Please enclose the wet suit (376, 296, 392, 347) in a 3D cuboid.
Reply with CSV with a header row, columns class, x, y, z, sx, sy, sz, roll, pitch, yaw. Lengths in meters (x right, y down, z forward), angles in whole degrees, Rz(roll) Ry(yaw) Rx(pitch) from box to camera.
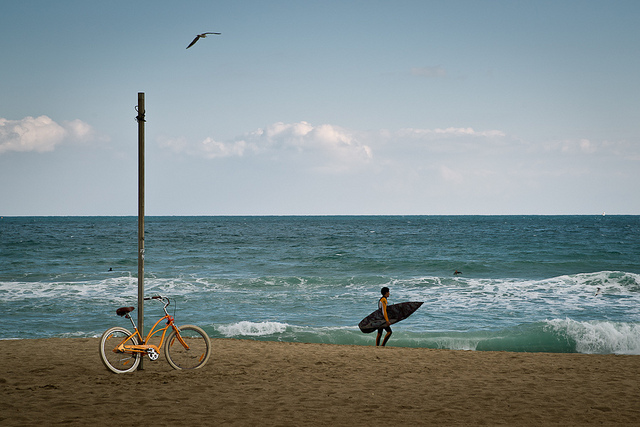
class,x,y,z,sx,sy,sz,roll,pitch,yaw
wet suit,2.669,4.515,33.760,0.585,2.411,1.319,2,10,4
